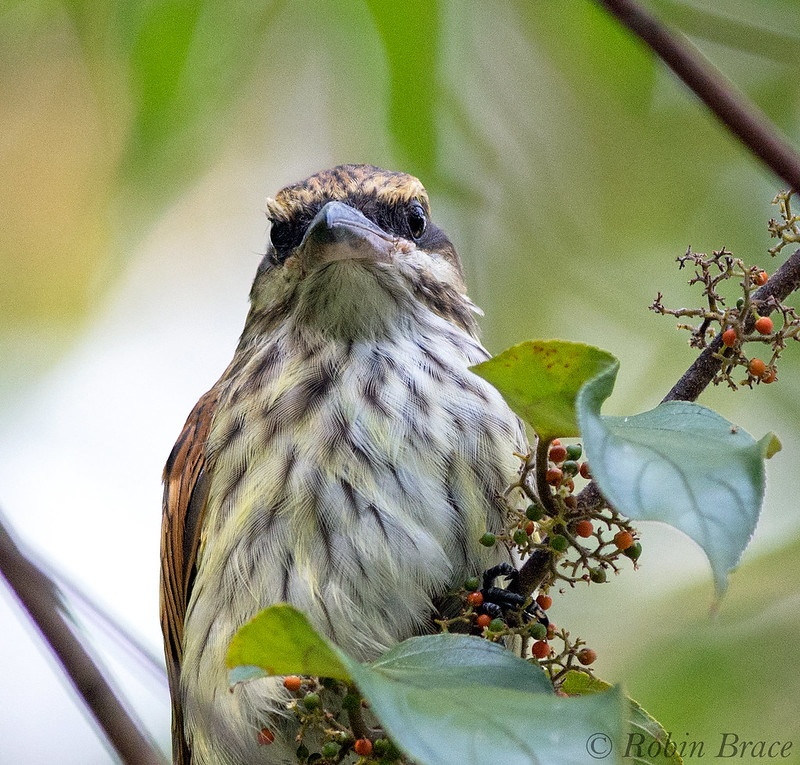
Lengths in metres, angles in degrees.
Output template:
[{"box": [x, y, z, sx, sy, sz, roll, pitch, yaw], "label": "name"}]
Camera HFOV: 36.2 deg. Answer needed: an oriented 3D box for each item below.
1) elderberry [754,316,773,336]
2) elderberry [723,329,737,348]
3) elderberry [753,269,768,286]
[{"box": [0.759, -0.120, 2.584, 0.036, 0.038, 0.047, -5, -72, 2], "label": "elderberry"}, {"box": [0.685, -0.092, 2.549, 0.031, 0.042, 0.032, -4, 2, -23], "label": "elderberry"}, {"box": [0.769, -0.226, 2.602, 0.030, 0.036, 0.035, 3, -44, 4], "label": "elderberry"}]
